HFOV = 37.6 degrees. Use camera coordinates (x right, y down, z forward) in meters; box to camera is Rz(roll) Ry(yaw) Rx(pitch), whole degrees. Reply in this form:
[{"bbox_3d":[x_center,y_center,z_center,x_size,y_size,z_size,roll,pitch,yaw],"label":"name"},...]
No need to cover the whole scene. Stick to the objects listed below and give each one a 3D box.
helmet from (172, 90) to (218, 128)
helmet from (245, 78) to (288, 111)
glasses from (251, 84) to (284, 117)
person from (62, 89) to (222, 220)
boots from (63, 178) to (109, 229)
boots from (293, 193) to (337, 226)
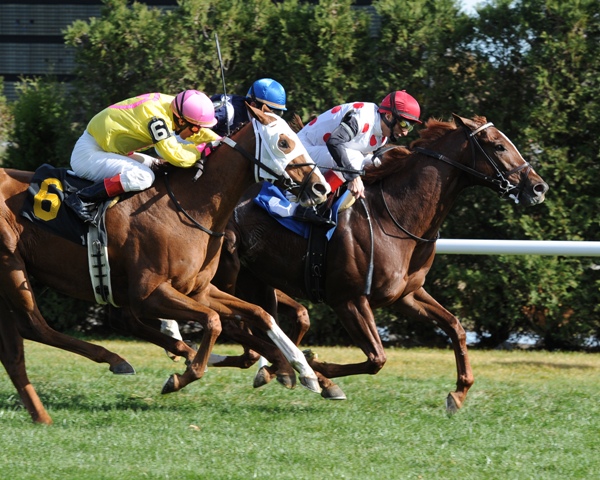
[{"bbox_3d":[-0.650,-0.786,5.424,0.303,0.135,0.194,27,51,0],"label":"helmet"},{"bbox_3d":[-0.165,-1.021,6.053,0.273,0.150,0.341,-13,32,-32],"label":"helmet"},{"bbox_3d":[-0.178,-0.968,6.030,0.204,0.183,0.213,-2,50,-38],"label":"glasses"},{"bbox_3d":[-0.827,-0.576,5.545,1.245,0.754,0.618,2,30,11],"label":"person"},{"bbox_3d":[-1.292,-0.232,5.309,0.369,0.254,0.120,-11,-15,-6],"label":"boots"},{"bbox_3d":[0.113,-0.190,5.840,0.331,0.139,0.231,-12,10,1],"label":"boots"}]
